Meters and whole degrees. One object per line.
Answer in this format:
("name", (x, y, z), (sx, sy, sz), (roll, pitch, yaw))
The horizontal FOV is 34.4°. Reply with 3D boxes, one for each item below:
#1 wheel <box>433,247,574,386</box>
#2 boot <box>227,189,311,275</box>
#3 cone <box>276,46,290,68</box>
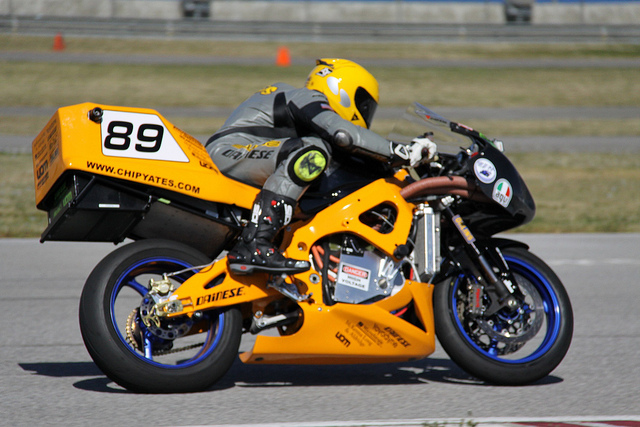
("wheel", (1.864, 1.063, 10.682), (1.449, 1.401, 0.516), (4, 10, 3))
("boot", (-0.509, 0.192, 10.392), (0.809, 0.876, 0.328), (3, 10, -4))
("cone", (-0.977, -4.183, 27.207), (0.350, 0.521, 1.016), (3, 8, -2))
